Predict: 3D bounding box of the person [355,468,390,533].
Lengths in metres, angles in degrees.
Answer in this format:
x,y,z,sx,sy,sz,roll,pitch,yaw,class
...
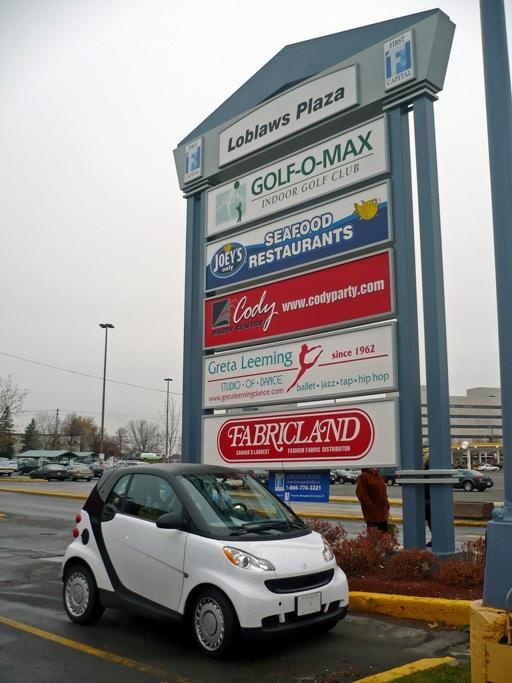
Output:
x,y,z,sx,sy,sz,roll,pitch,yaw,class
1.750,2.388,8.455,0.626,0.944,0.284,-2,-10,-30,person

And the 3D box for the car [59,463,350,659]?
x,y,z,sx,sy,sz,roll,pitch,yaw,class
-0.482,1.754,5.110,2.315,1.278,1.489,-14,-22,42,car
